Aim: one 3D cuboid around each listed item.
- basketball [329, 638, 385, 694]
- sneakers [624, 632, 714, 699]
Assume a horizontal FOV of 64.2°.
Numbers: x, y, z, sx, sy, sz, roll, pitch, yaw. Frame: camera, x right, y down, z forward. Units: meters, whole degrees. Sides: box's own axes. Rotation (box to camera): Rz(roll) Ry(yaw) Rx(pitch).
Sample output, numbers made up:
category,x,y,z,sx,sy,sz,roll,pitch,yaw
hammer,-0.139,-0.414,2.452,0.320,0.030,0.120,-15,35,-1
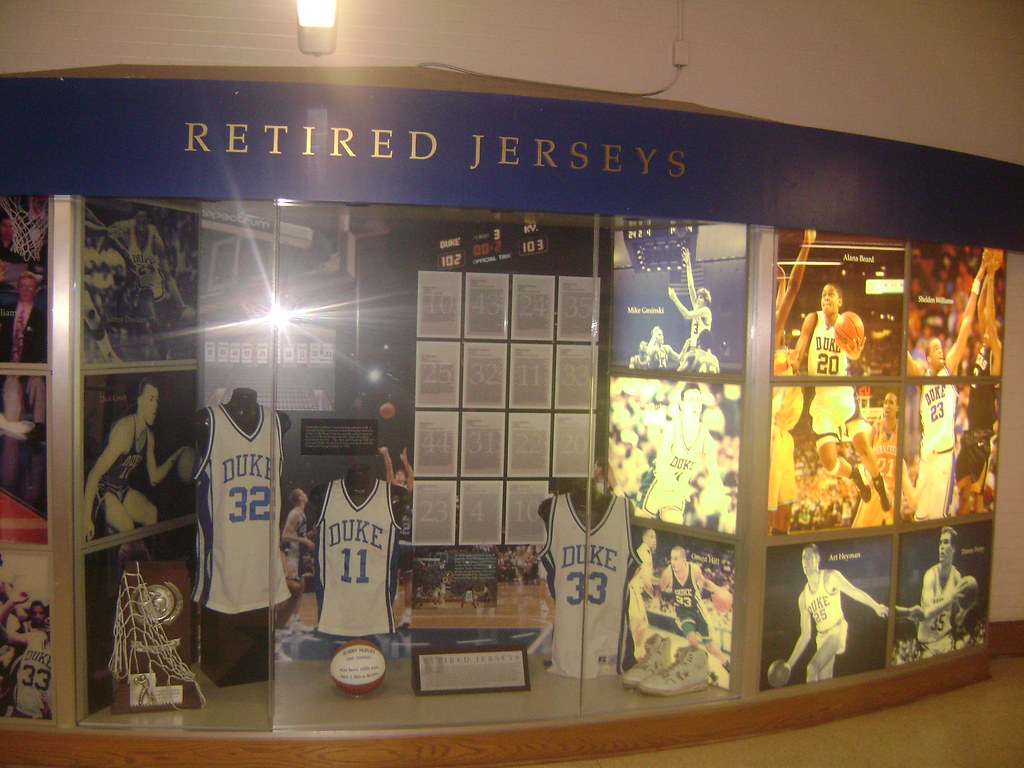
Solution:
category,x,y,z,sx,sy,sz,roll,pitch,yaw
basketball,-0.844,1.549,4.483,0.262,0.275,0.260,4,-7,-7
sneakers,0.912,1.612,4.662,0.403,0.234,0.259,1,-3,-6
